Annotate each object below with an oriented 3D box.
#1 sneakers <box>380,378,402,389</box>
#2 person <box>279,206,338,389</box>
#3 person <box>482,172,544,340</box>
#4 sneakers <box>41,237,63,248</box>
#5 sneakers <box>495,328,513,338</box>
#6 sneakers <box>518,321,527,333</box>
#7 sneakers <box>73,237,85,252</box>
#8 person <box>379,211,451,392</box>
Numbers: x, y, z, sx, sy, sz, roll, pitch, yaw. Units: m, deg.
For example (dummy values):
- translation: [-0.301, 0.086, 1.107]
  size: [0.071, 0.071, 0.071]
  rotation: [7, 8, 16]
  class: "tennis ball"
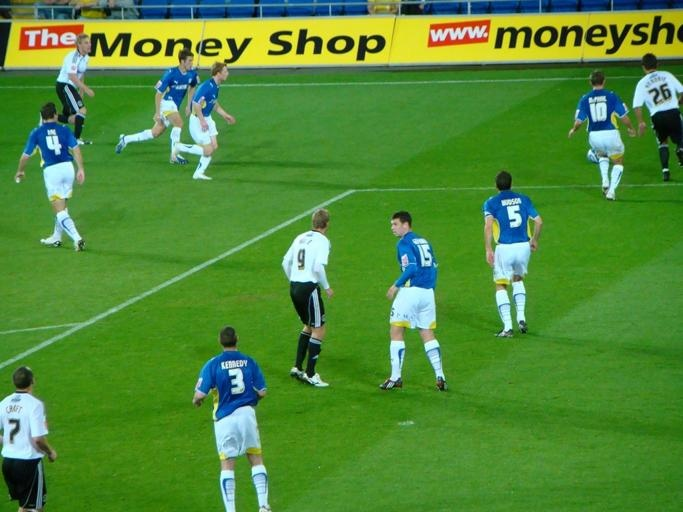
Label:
- translation: [0.778, 2.026, 19.170]
  size: [0.341, 0.174, 0.138]
  rotation: [-1, 9, 11]
  class: "sneakers"
- translation: [-0.511, 0.680, 19.144]
  size: [0.746, 2.815, 0.380]
  rotation: [3, 9, 0]
  class: "person"
- translation: [2.834, -0.010, 20.478]
  size: [0.955, 2.766, 0.556]
  rotation: [2, 9, -4]
  class: "person"
- translation: [-5.831, -0.296, 24.522]
  size: [0.451, 0.229, 0.173]
  rotation: [6, 9, 7]
  class: "sneakers"
- translation: [2.744, 1.313, 20.588]
  size: [0.302, 0.143, 0.114]
  rotation: [4, 6, 45]
  class: "sneakers"
- translation: [3.062, 1.222, 20.621]
  size: [0.084, 0.130, 0.254]
  rotation: [0, 14, 0]
  class: "sneakers"
- translation: [-5.147, -0.215, 24.056]
  size: [0.176, 0.273, 0.263]
  rotation: [2, 5, -2]
  class: "sneakers"
- translation: [1.136, 0.752, 18.925]
  size: [0.945, 2.814, 0.525]
  rotation: [3, 9, 2]
  class: "person"
